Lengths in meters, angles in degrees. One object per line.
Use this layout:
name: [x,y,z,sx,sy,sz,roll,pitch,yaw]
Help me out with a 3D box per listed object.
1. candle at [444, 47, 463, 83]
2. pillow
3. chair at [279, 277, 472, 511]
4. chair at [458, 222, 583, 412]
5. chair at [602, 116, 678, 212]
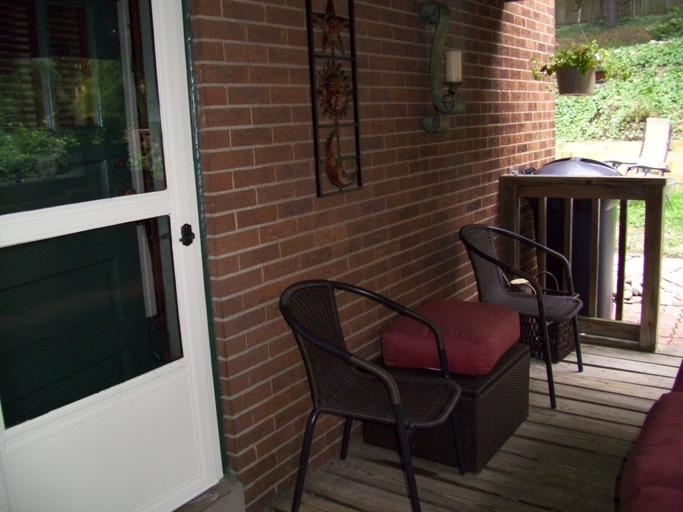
candle: [0.781,-1.278,3.490,0.185,0.211,0.097,-19,25,-41]
pillow: [0.607,0.382,2.611,0.440,0.175,0.429,4,15,29]
chair: [0.137,0.530,2.525,0.938,1.180,0.934,1,10,20]
chair: [1.178,0.359,3.329,0.742,1.017,0.760,-12,16,-37]
chair: [5.674,-1.749,9.377,0.780,1.445,2.160,9,21,32]
